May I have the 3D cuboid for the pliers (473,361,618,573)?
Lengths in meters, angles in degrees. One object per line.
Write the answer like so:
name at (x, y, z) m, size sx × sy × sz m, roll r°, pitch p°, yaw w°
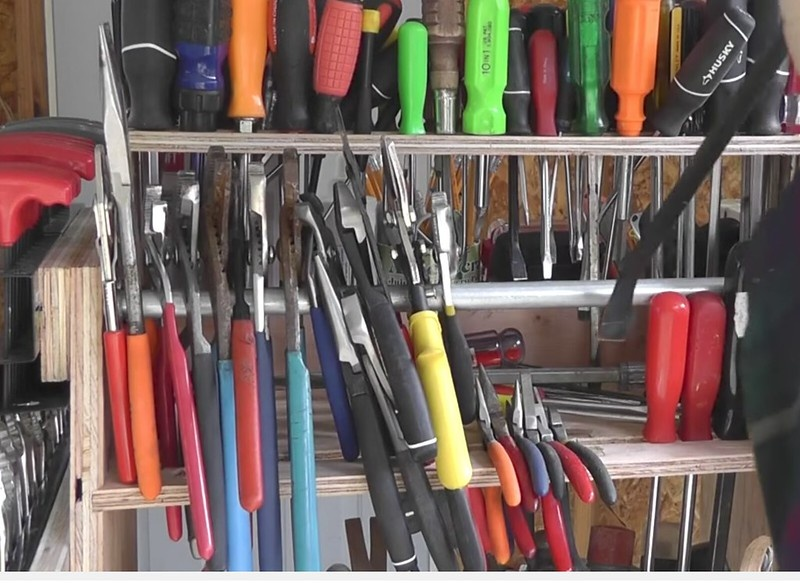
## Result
pliers at (0.227, 0.269, 1.558) m, size 0.149 × 0.060 × 0.529 m, roll 8°, pitch 47°, yaw -29°
